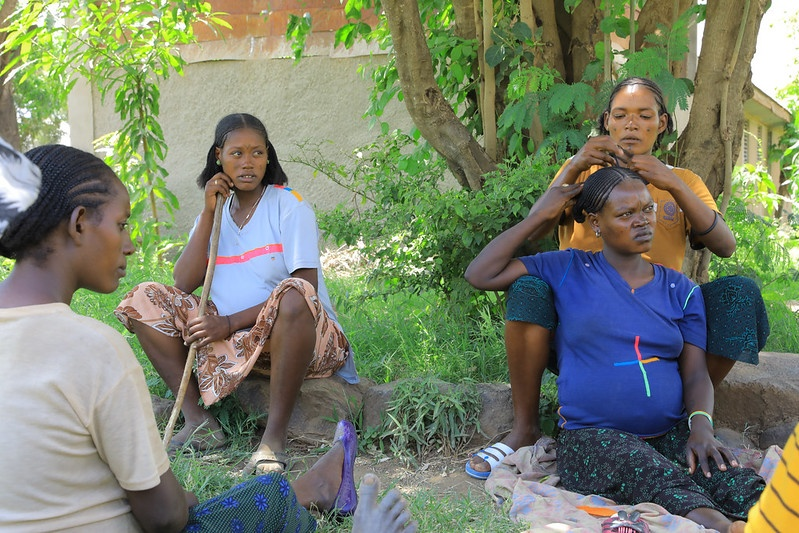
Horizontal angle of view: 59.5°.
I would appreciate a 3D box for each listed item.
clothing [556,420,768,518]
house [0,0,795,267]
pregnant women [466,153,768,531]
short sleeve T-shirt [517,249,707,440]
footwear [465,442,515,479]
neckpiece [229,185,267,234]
[{"bbox_3d":[1.252,1.004,3.451,0.748,0.213,0.454,8,-1,31],"label":"clothing"},{"bbox_3d":[-0.060,-1.005,5.338,3.503,2.105,1.808,2,5,9],"label":"house"},{"bbox_3d":[1.348,0.024,4.200,1.631,2.123,1.171,1,8,13],"label":"pregnant women"},{"bbox_3d":[1.140,0.432,3.772,0.973,0.840,0.501,7,-23,-6],"label":"short sleeve T-shirt"},{"bbox_3d":[0.483,1.062,3.897,0.344,0.113,0.121,-1,7,-36],"label":"footwear"},{"bbox_3d":[-0.970,-0.312,4.440,0.215,0.270,0.072,2,-12,20],"label":"neckpiece"}]
